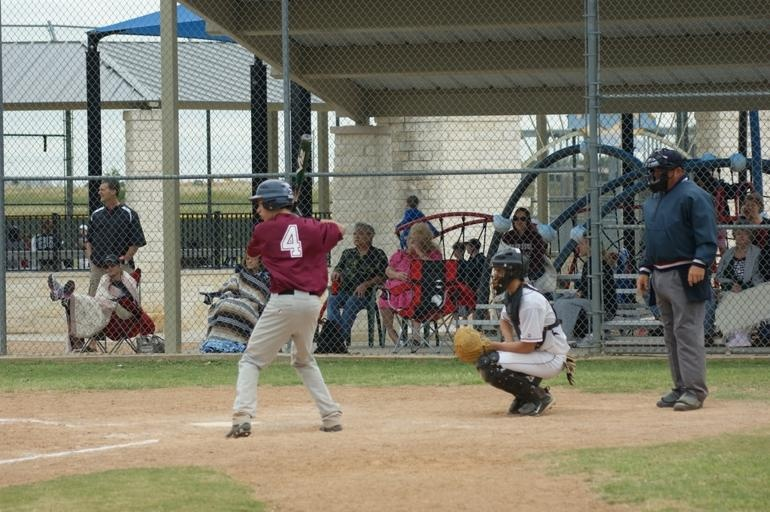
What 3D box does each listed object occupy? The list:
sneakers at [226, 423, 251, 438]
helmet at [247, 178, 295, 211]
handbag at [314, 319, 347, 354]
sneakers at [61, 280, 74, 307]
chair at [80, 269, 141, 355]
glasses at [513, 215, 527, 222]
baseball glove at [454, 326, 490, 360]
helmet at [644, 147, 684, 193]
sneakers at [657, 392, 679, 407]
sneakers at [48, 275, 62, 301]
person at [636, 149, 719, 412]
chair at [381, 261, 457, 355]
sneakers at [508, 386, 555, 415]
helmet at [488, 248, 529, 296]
[{"bbox_3d":[-1.806,2.128,17.115,0.147,0.147,0.310,-1,0,-39],"label":"sneakers"},{"bbox_3d":[-1.409,-0.776,17.464,0.462,0.294,0.329,6,2,8],"label":"helmet"},{"bbox_3d":[-0.860,1.306,22.071,0.578,0.926,0.471,0,-6,-3],"label":"handbag"},{"bbox_3d":[-5.026,0.522,21.786,0.145,0.474,0.176,6,-12,-1],"label":"sneakers"},{"bbox_3d":[-4.625,0.863,22.409,1.088,1.733,1.338,1,-3,-25],"label":"chair"},{"bbox_3d":[2.122,-0.598,21.718,0.222,0.090,0.033,-2,-2,22],"label":"glasses"},{"bbox_3d":[1.111,1.167,17.967,0.423,0.385,0.450,-3,-24,29],"label":"baseball glove"},{"bbox_3d":[3.670,-1.131,18.009,0.512,0.572,0.435,5,-1,-1],"label":"helmet"},{"bbox_3d":[3.723,1.854,18.086,0.293,0.143,0.153,-2,1,-14],"label":"sneakers"},{"bbox_3d":[-5.584,0.498,23.272,0.222,0.521,0.166,-7,4,-37],"label":"sneakers"},{"bbox_3d":[3.860,0.287,18.026,0.977,3.355,0.397,-2,-2,19],"label":"person"},{"bbox_3d":[0.652,0.794,22.297,1.345,1.736,1.322,2,-18,3],"label":"chair"},{"bbox_3d":[1.929,1.887,18.025,0.592,0.292,0.280,-23,13,-11],"label":"sneakers"},{"bbox_3d":[1.601,0.167,17.812,0.475,0.614,0.469,2,-1,5],"label":"helmet"}]
